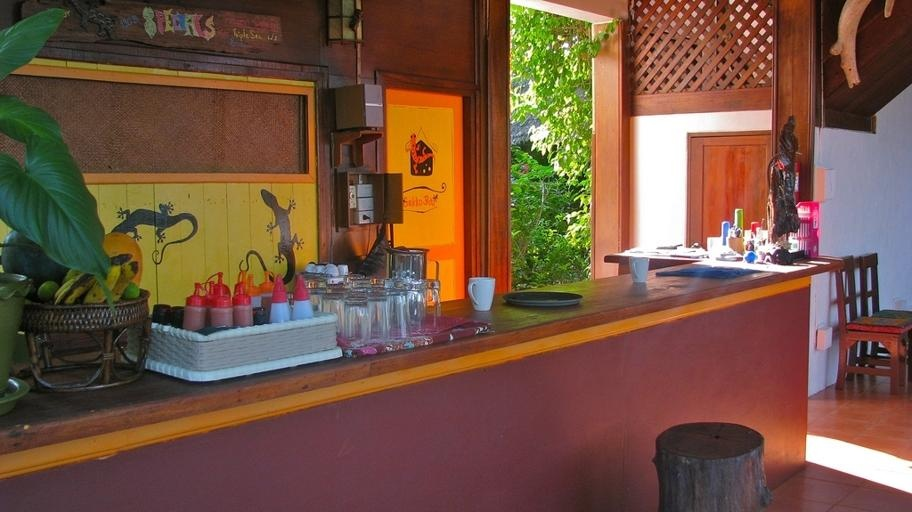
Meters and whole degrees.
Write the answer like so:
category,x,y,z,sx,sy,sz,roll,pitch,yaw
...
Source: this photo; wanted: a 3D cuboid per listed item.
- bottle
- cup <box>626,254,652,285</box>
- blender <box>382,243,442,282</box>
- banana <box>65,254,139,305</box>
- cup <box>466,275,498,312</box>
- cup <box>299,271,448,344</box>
category,x,y,z,sx,sy,sz,roll,pitch,yaw
bottle,-0.811,0.179,2.553,0.425,0.180,0.227,1,0,-32
cup,1.090,0.083,3.950,0.131,0.167,0.194,-1,-2,11
blender,-0.214,0.051,3.156,0.232,0.183,0.179,2,1,-8
banana,-1.286,0.105,2.376,0.093,0.126,0.254,4,31,46
cup,0.132,0.190,3.326,0.120,0.148,0.178,0,-1,2
cup,-0.347,0.214,2.808,0.588,0.211,0.470,0,14,-9
